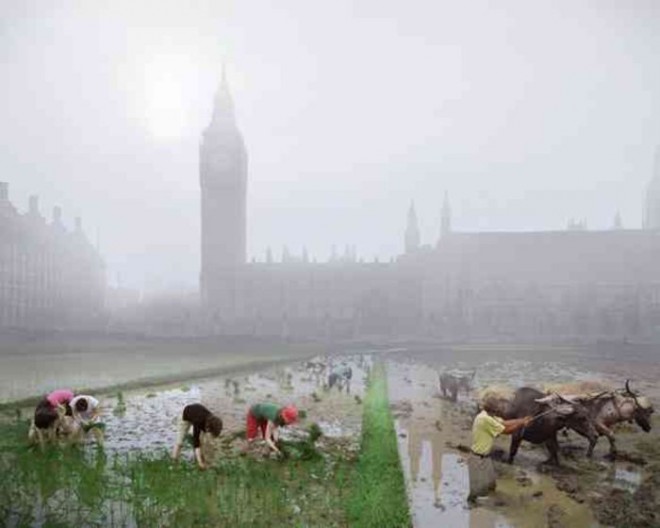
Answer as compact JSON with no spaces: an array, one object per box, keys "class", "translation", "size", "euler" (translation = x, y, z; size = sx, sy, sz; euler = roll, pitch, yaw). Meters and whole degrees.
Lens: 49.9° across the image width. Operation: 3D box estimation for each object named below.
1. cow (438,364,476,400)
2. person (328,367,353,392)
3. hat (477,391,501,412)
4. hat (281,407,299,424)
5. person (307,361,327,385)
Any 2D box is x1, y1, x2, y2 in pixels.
[{"class":"cow","translation":[5.592,5.586,32.025],"size":[1.252,1.372,1.146],"euler":[2,6,19]},{"class":"person","translation":[0.502,5.587,34.170],"size":[0.895,0.808,1.324],"euler":[-7,-18,25]},{"class":"hat","translation":[5.678,5.036,25.520],"size":[0.603,0.636,0.662],"euler":[2,-16,-32]},{"class":"hat","translation":[-1.364,5.219,24.147],"size":[0.465,0.497,0.619],"euler":[11,3,-12]},{"class":"person","translation":[-0.707,5.687,36.712],"size":[0.873,1.181,2.806],"euler":[-1,6,-10]}]
